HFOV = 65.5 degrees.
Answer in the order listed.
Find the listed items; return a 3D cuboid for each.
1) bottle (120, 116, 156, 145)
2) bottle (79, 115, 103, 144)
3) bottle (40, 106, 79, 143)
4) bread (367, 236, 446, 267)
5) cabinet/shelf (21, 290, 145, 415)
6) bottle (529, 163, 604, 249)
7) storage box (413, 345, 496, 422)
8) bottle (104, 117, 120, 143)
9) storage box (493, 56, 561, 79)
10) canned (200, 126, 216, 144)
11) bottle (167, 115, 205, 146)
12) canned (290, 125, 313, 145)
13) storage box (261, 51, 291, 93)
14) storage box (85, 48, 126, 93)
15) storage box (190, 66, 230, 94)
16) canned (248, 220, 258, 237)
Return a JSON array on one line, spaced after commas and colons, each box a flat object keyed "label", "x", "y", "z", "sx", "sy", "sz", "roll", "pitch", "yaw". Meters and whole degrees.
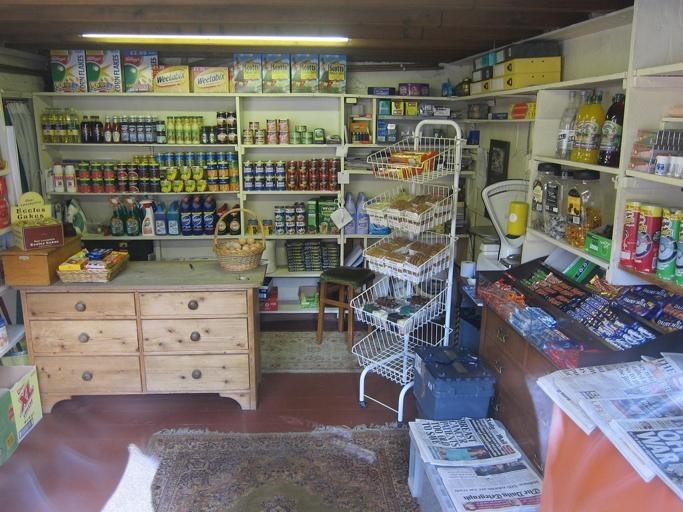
[{"label": "bottle", "x": -1.905, "y": -1.164, "z": 4.927, "sx": 0.367, "sy": 0.231, "sz": 0.169, "roll": -1, "pitch": 10, "yaw": -9}, {"label": "bottle", "x": -2.320, "y": -1.170, "z": 4.901, "sx": 0.210, "sy": 0.246, "sz": 0.117, "roll": -10, "pitch": 19, "yaw": -17}, {"label": "bottle", "x": -2.607, "y": -1.200, "z": 4.866, "sx": 0.457, "sy": 0.310, "sz": 0.204, "roll": 1, "pitch": 21, "yaw": -4}, {"label": "bread", "x": 0.442, "y": -0.037, "z": 3.617, "sx": 0.521, "sy": 0.097, "sz": 0.381, "roll": 10, "pitch": 19, "yaw": 43}, {"label": "cabinet/shelf", "x": -1.778, "y": 0.602, "z": 3.988, "sx": 1.061, "sy": 0.991, "sz": 0.793, "roll": -1, "pitch": 6, "yaw": -8}, {"label": "bottle", "x": 1.302, "y": -0.294, "z": 3.011, "sx": 0.221, "sy": 0.401, "sz": 0.531, "roll": -7, "pitch": 17, "yaw": -13}, {"label": "storage box", "x": 0.652, "y": 0.777, "z": 3.295, "sx": 0.444, "sy": 0.315, "sz": 0.508, "roll": 0, "pitch": 9, "yaw": -5}, {"label": "bottle", "x": -2.153, "y": -1.173, "z": 4.960, "sx": 0.158, "sy": 0.222, "sz": 0.198, "roll": -11, "pitch": 19, "yaw": -19}, {"label": "storage box", "x": 1.327, "y": -1.259, "z": 3.592, "sx": 0.239, "sy": 0.047, "sz": 0.231, "roll": -3, "pitch": 6, "yaw": -24}, {"label": "canned", "x": -1.240, "y": -1.136, "z": 4.960, "sx": 0.201, "sy": 0.155, "sz": 0.167, "roll": 1, "pitch": 11, "yaw": -6}, {"label": "bottle", "x": -1.470, "y": -1.173, "z": 4.988, "sx": 0.390, "sy": 0.234, "sz": 0.120, "roll": 0, "pitch": 11, "yaw": -7}, {"label": "canned", "x": -0.374, "y": -1.152, "z": 5.041, "sx": 0.229, "sy": 0.184, "sz": 0.149, "roll": -4, "pitch": 18, "yaw": -2}, {"label": "storage box", "x": -0.599, "y": -1.691, "z": 4.890, "sx": 0.283, "sy": 0.340, "sz": 0.079, "roll": -5, "pitch": 20, "yaw": -2}, {"label": "storage box", "x": -2.165, "y": -1.686, "z": 4.807, "sx": 0.331, "sy": 0.370, "sz": 0.078, "roll": -4, "pitch": 20, "yaw": 1}, {"label": "storage box", "x": -1.196, "y": -1.640, "z": 4.984, "sx": 0.546, "sy": 0.263, "sz": 0.235, "roll": 1, "pitch": 29, "yaw": -3}, {"label": "canned", "x": -0.860, "y": -0.273, "z": 5.146, "sx": 0.083, "sy": 0.140, "sz": 0.121, "roll": 0, "pitch": 18, "yaw": 13}]
